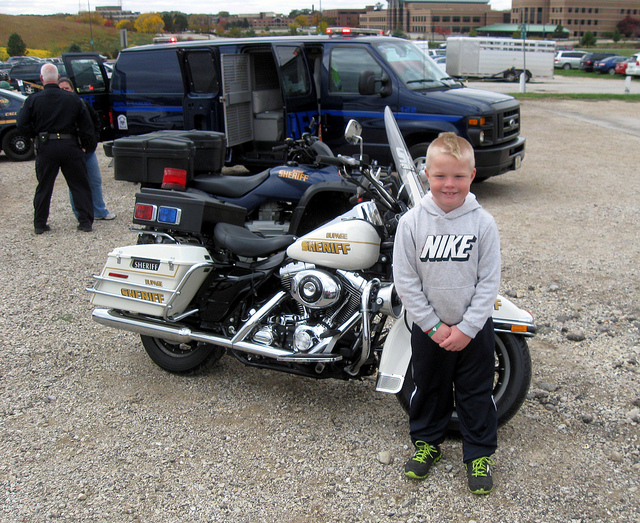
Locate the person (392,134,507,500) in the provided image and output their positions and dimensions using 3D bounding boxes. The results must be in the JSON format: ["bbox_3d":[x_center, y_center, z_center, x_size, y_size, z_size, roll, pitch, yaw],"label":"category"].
[{"bbox_3d":[0.680,0.287,2.792,0.623,1.835,0.666,4,23,18],"label":"person"}]

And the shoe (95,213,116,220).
[{"bbox_3d":[-3.134,-0.631,7.814,0.288,0.106,0.084,-5,30,-11],"label":"shoe"}]

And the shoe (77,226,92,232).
[{"bbox_3d":[-3.192,-0.429,7.249,0.201,0.073,0.066,8,21,10],"label":"shoe"}]

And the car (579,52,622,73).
[{"bbox_3d":[19.412,-14.216,38.493,2.969,0.939,1.214,-15,27,-13],"label":"car"}]

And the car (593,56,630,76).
[{"bbox_3d":[19.592,-13.433,36.709,2.991,0.875,1.228,-14,28,-17],"label":"car"}]

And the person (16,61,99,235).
[{"bbox_3d":[-3.439,-1.301,7.072,0.979,1.840,0.553,-10,23,-16],"label":"person"}]

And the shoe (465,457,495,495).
[{"bbox_3d":[0.842,1.129,2.841,0.143,0.169,0.174,2,20,13],"label":"shoe"}]

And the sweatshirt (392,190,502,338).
[{"bbox_3d":[0.633,0.026,2.695,0.498,0.634,0.329,3,22,14],"label":"sweatshirt"}]

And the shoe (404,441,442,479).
[{"bbox_3d":[0.565,1.084,2.978,0.119,0.107,0.272,12,22,32],"label":"shoe"}]
